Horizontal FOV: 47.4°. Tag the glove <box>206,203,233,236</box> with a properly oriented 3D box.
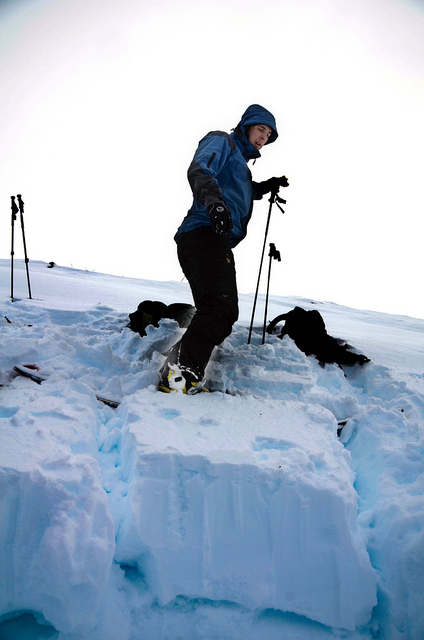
[{"bbox_3d":[0.039,-0.562,2.671,0.142,0.176,0.121,8,12,-4],"label":"glove"}]

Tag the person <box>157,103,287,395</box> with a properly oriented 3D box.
[{"bbox_3d":[0.029,-0.546,3.034,0.634,1.816,1.493,10,12,5],"label":"person"}]

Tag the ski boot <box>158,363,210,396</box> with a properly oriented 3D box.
[{"bbox_3d":[-0.169,0.339,2.749,0.336,0.155,0.112,4,-1,-16],"label":"ski boot"}]
